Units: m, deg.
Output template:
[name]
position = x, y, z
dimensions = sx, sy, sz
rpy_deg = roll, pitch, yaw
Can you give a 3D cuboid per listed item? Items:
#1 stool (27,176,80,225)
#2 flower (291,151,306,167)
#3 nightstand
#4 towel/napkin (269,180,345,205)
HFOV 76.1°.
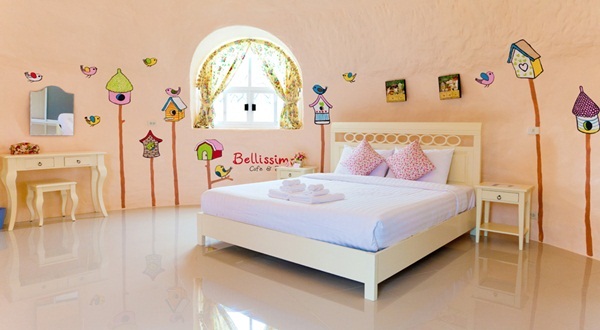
[stool]
position = -4.815, 0.700, 7.406
dimensions = 0.990, 0.684, 0.936
rpy_deg = -1, 3, 8
[flower]
position = -0.045, -0.110, 8.338
dimensions = 0.329, 0.203, 0.312
rpy_deg = -1, 0, -9
[nightstand]
position = 3.588, 0.849, 6.760
dimensions = 0.902, 1.079, 0.724
rpy_deg = 1, 5, 29
[towel/napkin]
position = 0.081, 0.392, 5.963
dimensions = 1.097, 0.315, 0.490
rpy_deg = 1, 5, 27
